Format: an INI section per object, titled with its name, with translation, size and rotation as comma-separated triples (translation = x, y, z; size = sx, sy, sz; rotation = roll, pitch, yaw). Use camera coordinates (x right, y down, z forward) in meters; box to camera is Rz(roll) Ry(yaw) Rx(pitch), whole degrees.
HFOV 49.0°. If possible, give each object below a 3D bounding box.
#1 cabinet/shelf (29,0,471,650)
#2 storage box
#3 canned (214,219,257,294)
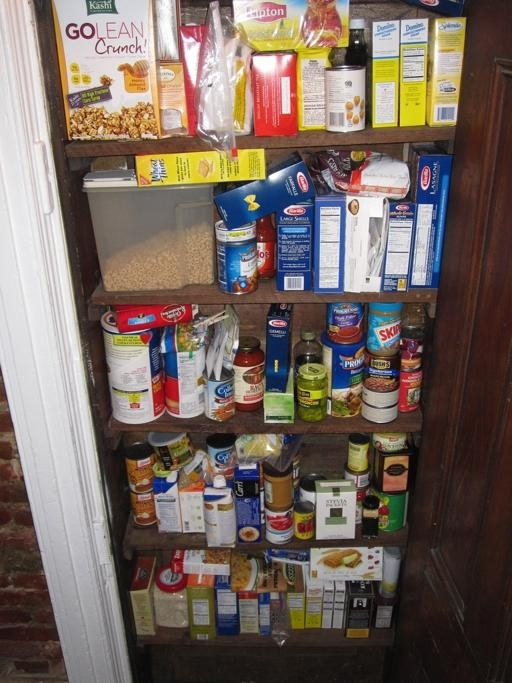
[cabinet/shelf]
translation = -0.045, -0.045, 1.409
size = 0.731, 1.386, 0.453
rotation = -7, 27, -7
[storage box]
translation = -0.208, -0.279, 1.332
size = 0.303, 0.274, 0.231
rotation = -2, 29, -3
[canned]
translation = -0.044, -0.193, 1.266
size = 0.095, 0.158, 0.101
rotation = -3, 26, 0
